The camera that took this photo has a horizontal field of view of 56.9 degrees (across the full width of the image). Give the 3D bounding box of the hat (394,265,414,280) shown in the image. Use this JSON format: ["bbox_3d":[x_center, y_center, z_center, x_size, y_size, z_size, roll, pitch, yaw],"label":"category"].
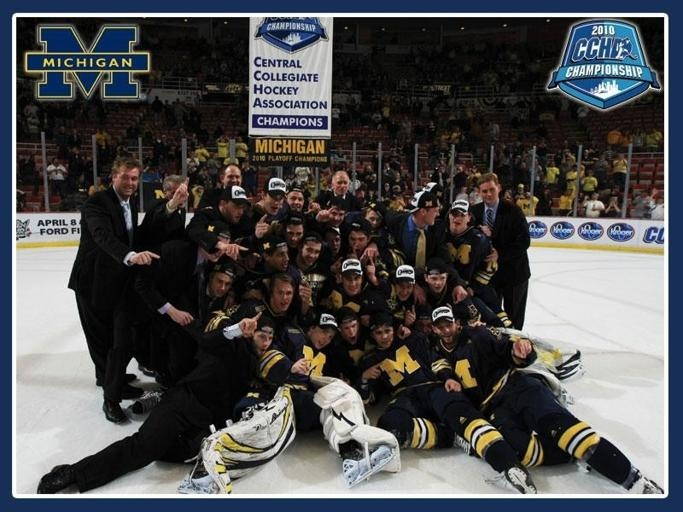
[{"bbox_3d":[0.734,0.199,7.299,0.215,0.150,0.188,0,8,-5],"label":"hat"}]

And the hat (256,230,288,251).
[{"bbox_3d":[-0.829,-0.142,7.276,0.294,0.233,0.228,-27,7,23],"label":"hat"}]

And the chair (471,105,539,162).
[{"bbox_3d":[4.671,-3.482,18.047,1.971,0.978,2.670,2,35,23],"label":"chair"}]

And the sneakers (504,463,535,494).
[{"bbox_3d":[1.636,2.002,5.658,0.166,0.200,0.289,-7,11,-44],"label":"sneakers"}]

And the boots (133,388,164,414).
[{"bbox_3d":[-2.134,1.591,6.826,0.343,0.182,0.206,-5,10,-37],"label":"boots"}]

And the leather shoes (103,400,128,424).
[{"bbox_3d":[-2.404,1.630,6.608,0.363,0.163,0.131,11,4,38],"label":"leather shoes"}]

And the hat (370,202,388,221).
[{"bbox_3d":[0.504,-0.598,8.502,0.235,0.205,0.502,1,8,4],"label":"hat"}]

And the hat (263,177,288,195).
[{"bbox_3d":[-0.848,-0.875,8.057,0.241,0.185,0.346,-1,7,-17],"label":"hat"}]

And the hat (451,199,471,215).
[{"bbox_3d":[1.525,-0.616,7.976,0.172,0.134,0.254,5,-5,20],"label":"hat"}]

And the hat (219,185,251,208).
[{"bbox_3d":[-1.265,-0.684,7.376,0.316,0.170,0.226,10,8,23],"label":"hat"}]

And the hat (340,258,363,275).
[{"bbox_3d":[0.114,0.129,7.171,0.223,0.165,0.210,1,8,0],"label":"hat"}]

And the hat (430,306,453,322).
[{"bbox_3d":[1.090,0.603,6.708,0.202,0.179,0.336,-6,3,12],"label":"hat"}]

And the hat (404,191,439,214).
[{"bbox_3d":[1.025,-0.661,7.894,0.353,0.190,0.230,3,19,13],"label":"hat"}]
